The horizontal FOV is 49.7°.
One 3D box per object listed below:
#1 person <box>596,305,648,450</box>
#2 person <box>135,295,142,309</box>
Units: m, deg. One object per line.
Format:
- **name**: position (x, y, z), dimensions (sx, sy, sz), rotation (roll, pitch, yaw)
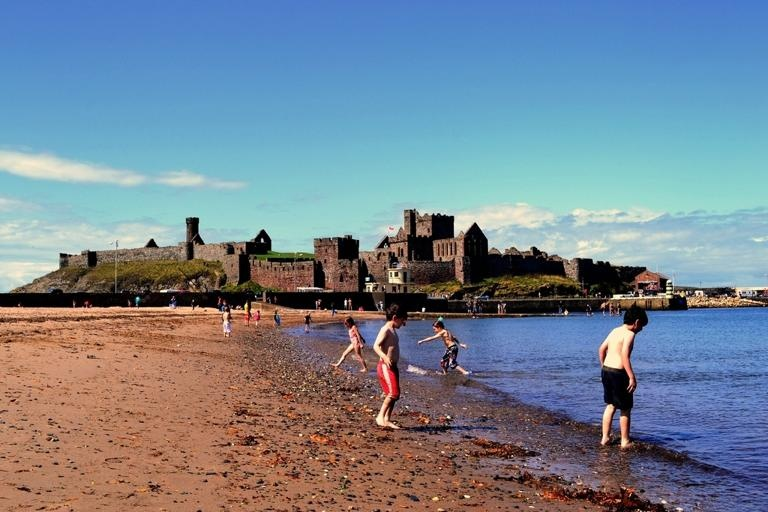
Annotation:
- **person**: position (5.945, 3.056, 20.826), dimensions (1.050, 3.604, 1.588), rotation (-1, -3, 11)
- **person**: position (-24.950, 4.670, 84.367), dimensions (0.797, 0.856, 1.794), rotation (2, -17, -11)
